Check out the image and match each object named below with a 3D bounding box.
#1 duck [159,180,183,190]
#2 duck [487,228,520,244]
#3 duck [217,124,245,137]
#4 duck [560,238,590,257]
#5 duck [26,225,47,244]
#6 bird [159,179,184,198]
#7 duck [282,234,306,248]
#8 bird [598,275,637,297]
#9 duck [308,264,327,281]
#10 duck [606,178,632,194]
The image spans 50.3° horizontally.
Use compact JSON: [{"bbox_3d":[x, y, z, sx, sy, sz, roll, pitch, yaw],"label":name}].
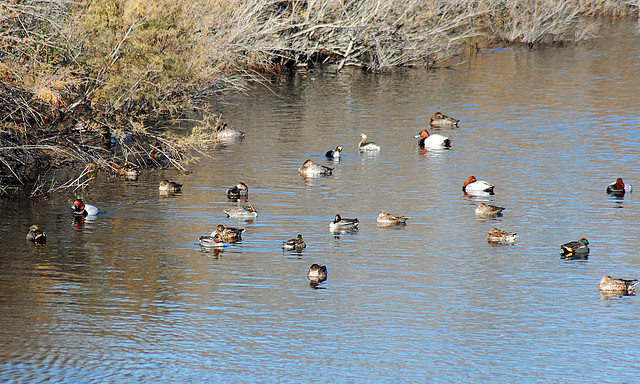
[{"bbox_3d":[-6.888,-0.307,31.167,0.988,0.416,0.589,-1,7,-16],"label":"duck"},{"bbox_3d":[6.963,1.684,25.687,1.118,0.307,0.498,0,3,1],"label":"duck"},{"bbox_3d":[-5.359,-3.470,40.434,1.329,0.453,0.616,4,12,27],"label":"duck"},{"bbox_3d":[9.271,1.974,24.459,1.096,0.590,0.459,0,8,-3],"label":"duck"},{"bbox_3d":[-10.679,1.565,25.501,0.585,0.486,0.907,-11,27,-35],"label":"duck"},{"bbox_3d":[-6.960,-0.153,30.969,1.347,0.579,0.587,-1,6,-23],"label":"bird"},{"bbox_3d":[-0.938,1.823,25.107,0.843,0.459,0.416,0,7,-3],"label":"duck"},{"bbox_3d":[9.505,2.966,21.749,1.229,0.556,0.528,-1,7,-11],"label":"bird"},{"bbox_3d":[-0.072,2.647,22.622,0.633,0.536,0.316,0,8,-1],"label":"duck"},{"bbox_3d":[13.626,-0.259,30.750,1.304,0.667,0.493,-1,8,-12],"label":"duck"}]
